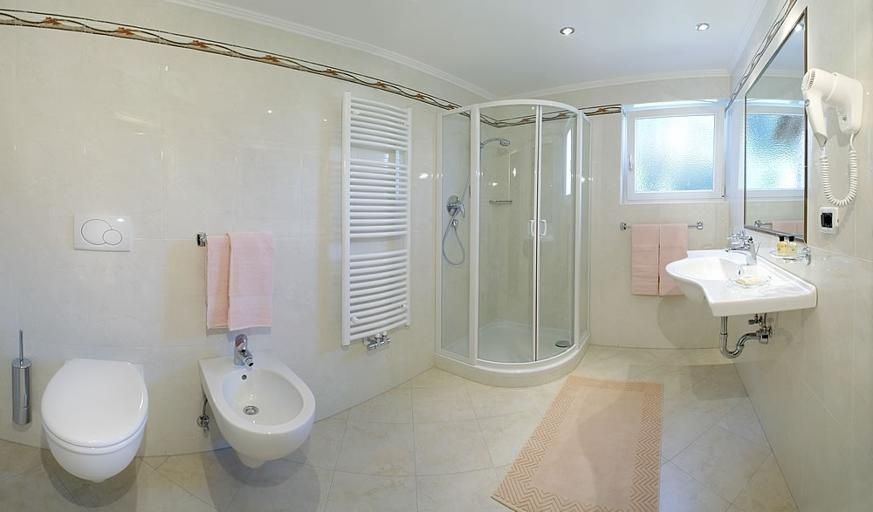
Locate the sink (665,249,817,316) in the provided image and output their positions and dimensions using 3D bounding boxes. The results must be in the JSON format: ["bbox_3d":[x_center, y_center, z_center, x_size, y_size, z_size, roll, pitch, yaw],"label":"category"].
[{"bbox_3d":[2.246,0.182,4.087,1.053,0.404,1.471,1,5,13],"label":"sink"}]

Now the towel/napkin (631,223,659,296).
[{"bbox_3d":[2.129,0.039,5.432,0.068,0.708,0.281,3,-3,-14],"label":"towel/napkin"}]

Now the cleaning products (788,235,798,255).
[{"bbox_3d":[2.517,-0.076,3.829,0.050,0.123,0.114,4,12,31],"label":"cleaning products"}]

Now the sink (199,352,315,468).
[{"bbox_3d":[-1.275,1.052,3.921,0.613,0.536,0.983,-12,29,-36],"label":"sink"}]

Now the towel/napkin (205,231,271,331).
[{"bbox_3d":[-1.485,0.185,4.089,0.517,0.708,0.150,-5,11,-13],"label":"towel/napkin"}]

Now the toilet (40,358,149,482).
[{"bbox_3d":[-2.319,1.101,3.717,0.604,0.621,0.718,-9,12,-32],"label":"toilet"}]
